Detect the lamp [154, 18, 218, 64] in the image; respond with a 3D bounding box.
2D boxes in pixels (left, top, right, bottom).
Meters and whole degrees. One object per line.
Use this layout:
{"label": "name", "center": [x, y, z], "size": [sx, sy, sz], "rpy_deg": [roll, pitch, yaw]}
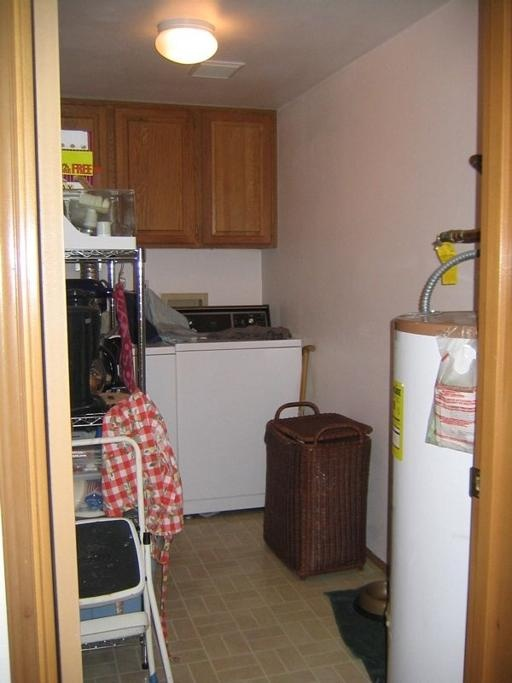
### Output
{"label": "lamp", "center": [-0.270, -1.165, 2.243], "size": [0.232, 0.104, 0.172], "rpy_deg": [-1, 4, -4]}
